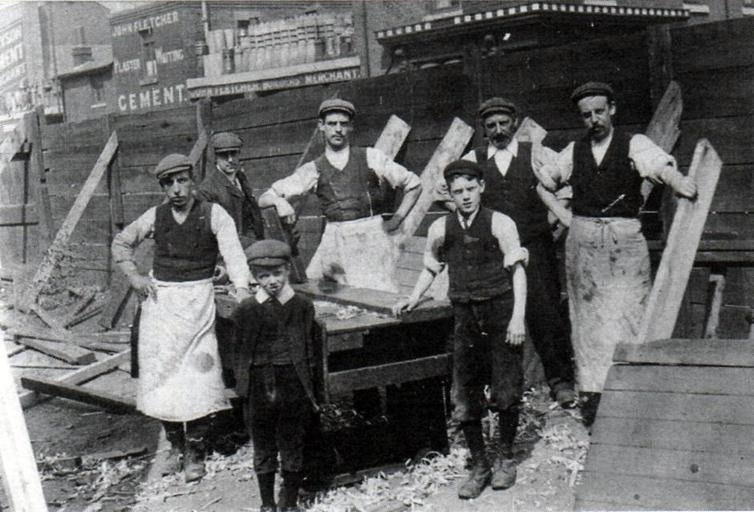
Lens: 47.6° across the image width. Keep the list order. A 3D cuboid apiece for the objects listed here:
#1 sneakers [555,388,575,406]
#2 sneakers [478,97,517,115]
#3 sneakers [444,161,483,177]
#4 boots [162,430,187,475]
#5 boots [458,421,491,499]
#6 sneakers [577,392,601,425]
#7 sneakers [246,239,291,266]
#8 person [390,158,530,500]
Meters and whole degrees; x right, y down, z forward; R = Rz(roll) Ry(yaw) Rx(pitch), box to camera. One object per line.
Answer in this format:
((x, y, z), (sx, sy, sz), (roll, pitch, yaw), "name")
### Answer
((1.512, 1.125, 6.832), (0.126, 0.143, 0.110), (1, 45, 5), "sneakers")
((0.949, -1.156, 6.762), (0.280, 0.146, 0.131), (-5, 10, 5), "sneakers")
((0.637, -0.620, 6.268), (0.185, 0.085, 0.236), (1, -5, 15), "sneakers")
((-1.690, 1.589, 7.154), (0.100, 0.283, 0.203), (7, -34, -4), "boots")
((0.705, 1.468, 6.211), (0.213, 0.532, 0.238), (-1, 11, 22), "boots")
((1.660, 1.173, 6.799), (0.216, 0.310, 0.070), (4, 20, 6), "sneakers")
((-0.803, -0.010, 6.303), (0.301, 0.181, 0.196), (-8, 10, -16), "sneakers")
((0.731, 0.508, 6.242), (0.805, 2.362, 0.565), (-5, 10, 2), "person")
